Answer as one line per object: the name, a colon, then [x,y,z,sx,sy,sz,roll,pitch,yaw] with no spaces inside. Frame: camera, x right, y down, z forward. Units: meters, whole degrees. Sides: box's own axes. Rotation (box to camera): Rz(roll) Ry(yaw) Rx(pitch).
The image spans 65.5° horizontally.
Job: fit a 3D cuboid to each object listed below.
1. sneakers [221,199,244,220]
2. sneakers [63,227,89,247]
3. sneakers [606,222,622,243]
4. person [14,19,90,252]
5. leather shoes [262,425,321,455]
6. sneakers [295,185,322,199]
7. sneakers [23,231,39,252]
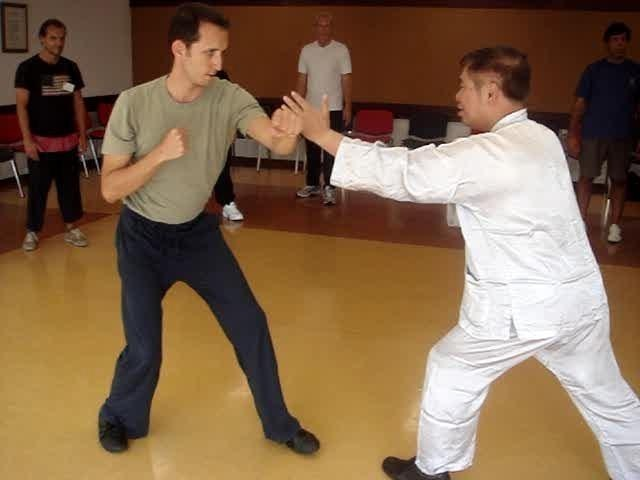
sneakers: [-0.986,-0.334,5.549,0.126,0.161,0.357,-16,18,-28]
sneakers: [-2.287,-0.015,4.716,0.260,0.133,0.140,16,51,24]
sneakers: [2.984,-0.053,5.090,0.158,0.231,0.066,1,-9,9]
person: [-2.438,-0.815,4.515,0.598,1.739,0.446,-5,17,-26]
leather shoes: [-0.136,0.942,2.382,0.252,0.109,0.103,1,11,26]
sneakers: [-0.154,-0.618,6.573,0.352,0.175,0.133,-4,6,-22]
sneakers: [-2.656,-0.003,4.560,0.091,0.114,0.252,2,29,-27]
